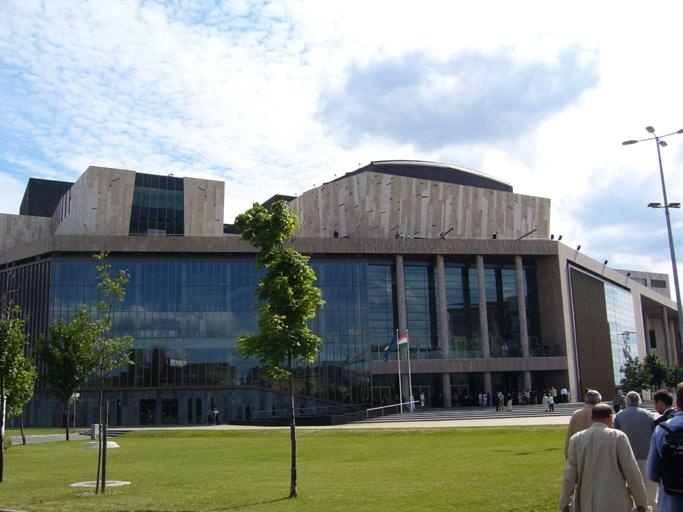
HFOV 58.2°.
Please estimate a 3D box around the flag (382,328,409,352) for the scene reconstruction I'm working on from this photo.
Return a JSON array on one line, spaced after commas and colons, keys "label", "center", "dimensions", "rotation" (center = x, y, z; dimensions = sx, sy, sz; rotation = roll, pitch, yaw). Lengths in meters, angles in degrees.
[{"label": "flag", "center": [5.099, 7.932, 57.598], "dimensions": [2.725, 2.858, 0.299], "rotation": [7, 1, 34]}]
